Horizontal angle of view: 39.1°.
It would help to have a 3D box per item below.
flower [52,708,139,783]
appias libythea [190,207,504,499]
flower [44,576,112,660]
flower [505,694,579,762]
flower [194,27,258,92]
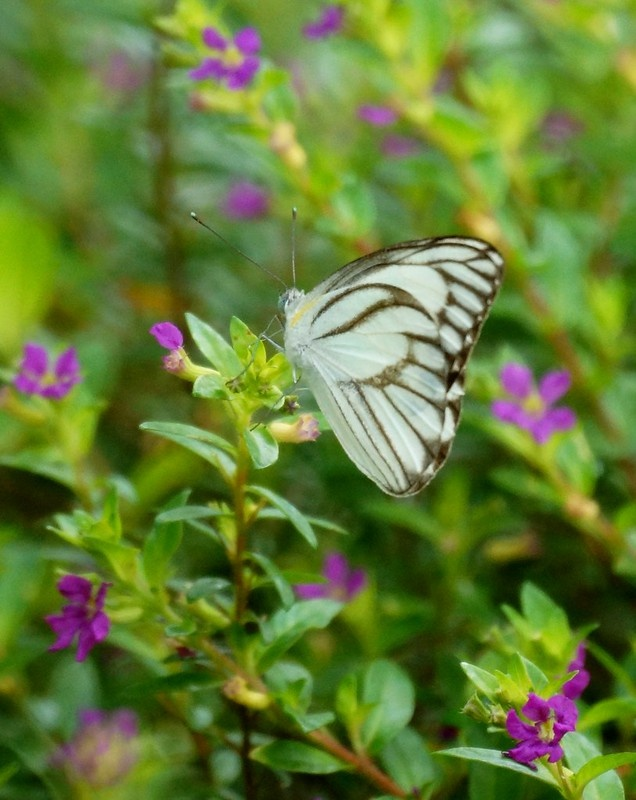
[{"bbox_3d":[-0.280,0.446,1.150,0.094,0.031,0.081,-4,62,18],"label":"flower"},{"bbox_3d":[0.120,-0.066,1.381,0.224,0.507,0.443,-39,118,-20],"label":"appias libythea"},{"bbox_3d":[-0.257,0.241,1.007,0.076,0.103,0.080,1,91,15],"label":"flower"},{"bbox_3d":[0.240,0.356,0.970,0.077,0.028,0.075,10,81,3],"label":"flower"},{"bbox_3d":[-0.131,-0.480,1.295,0.090,0.108,0.077,4,82,4],"label":"flower"}]
